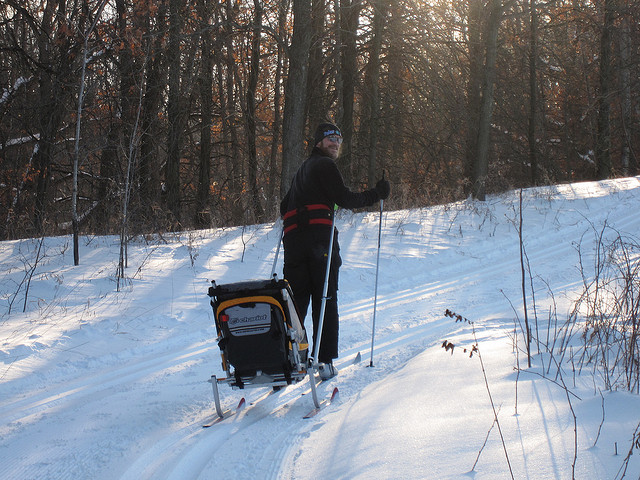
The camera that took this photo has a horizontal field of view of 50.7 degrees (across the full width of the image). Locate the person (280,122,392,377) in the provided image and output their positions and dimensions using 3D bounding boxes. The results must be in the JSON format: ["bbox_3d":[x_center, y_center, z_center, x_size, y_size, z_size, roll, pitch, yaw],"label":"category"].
[{"bbox_3d":[0.082,0.139,9.454,1.244,2.946,0.963,-3,-1,-4],"label":"person"}]

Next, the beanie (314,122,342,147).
[{"bbox_3d":[0.102,-1.477,9.530,0.291,0.288,0.304,-4,-2,5],"label":"beanie"}]

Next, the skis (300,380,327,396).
[{"bbox_3d":[-0.077,2.008,9.169,0.048,0.050,0.334,34,67,29],"label":"skis"}]

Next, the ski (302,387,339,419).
[{"bbox_3d":[0.017,2.133,8.834,0.108,0.158,0.873,-11,9,24],"label":"ski"}]

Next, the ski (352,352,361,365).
[{"bbox_3d":[0.535,1.724,9.881,0.128,0.176,0.131,0,10,-6],"label":"ski"}]

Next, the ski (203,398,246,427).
[{"bbox_3d":[-1.242,2.255,8.816,0.103,0.157,0.839,2,15,22],"label":"ski"}]

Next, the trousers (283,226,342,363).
[{"bbox_3d":[-0.098,0.602,9.477,0.759,2.422,0.662,-1,8,-8],"label":"trousers"}]

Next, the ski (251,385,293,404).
[{"bbox_3d":[-0.650,2.090,9.157,0.061,0.043,0.498,16,38,41],"label":"ski"}]
